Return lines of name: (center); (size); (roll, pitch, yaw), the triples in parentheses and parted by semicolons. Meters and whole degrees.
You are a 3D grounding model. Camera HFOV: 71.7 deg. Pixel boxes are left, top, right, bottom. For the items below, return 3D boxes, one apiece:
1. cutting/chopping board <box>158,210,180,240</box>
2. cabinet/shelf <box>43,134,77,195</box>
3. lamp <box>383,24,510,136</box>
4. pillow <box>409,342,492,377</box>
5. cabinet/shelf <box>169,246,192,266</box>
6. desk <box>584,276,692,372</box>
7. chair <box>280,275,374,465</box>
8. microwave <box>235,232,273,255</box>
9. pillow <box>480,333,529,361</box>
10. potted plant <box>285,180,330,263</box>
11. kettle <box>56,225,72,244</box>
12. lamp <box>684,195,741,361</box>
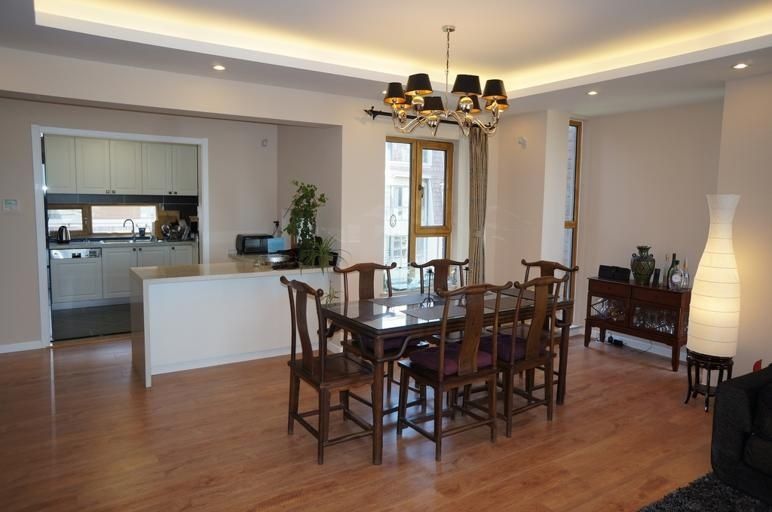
cutting/chopping board: (-4.001, -0.589, 9.767); (0.491, 0.489, 0.113); (6, -13, 0)
cabinet/shelf: (-5.203, -1.468, 8.570); (0.443, 0.907, 0.191); (-6, 8, -29)
lamp: (0.717, -1.597, 5.622); (1.303, 1.050, 1.403); (10, 16, 36)
pillow: (0.571, 0.994, 5.140); (0.399, 0.116, 0.402); (-4, 5, -35)
cabinet/shelf: (-3.581, -0.003, 9.241); (0.316, 0.454, 0.338); (5, 1, 40)
desk: (3.334, 0.891, 7.003); (0.460, 0.922, 1.137); (-3, 7, -35)
chair: (-0.602, 1.019, 5.196); (0.766, 1.688, 0.986); (-4, 8, -20)
microwave: (-2.039, -0.170, 8.132); (0.520, 0.301, 0.359); (-2, 5, -33)
pillow: (1.250, 0.935, 5.522); (0.307, 0.083, 0.314); (-8, 11, -34)
potted plant: (-1.085, -0.462, 7.354); (0.551, 1.119, 1.160); (-3, 7, -7)
kettle: (-5.355, -0.351, 8.870); (0.192, 0.293, 0.301); (-5, 8, -28)
lamp: (3.545, 0.228, 5.767); (0.459, 1.750, 0.288); (2, 8, 28)
